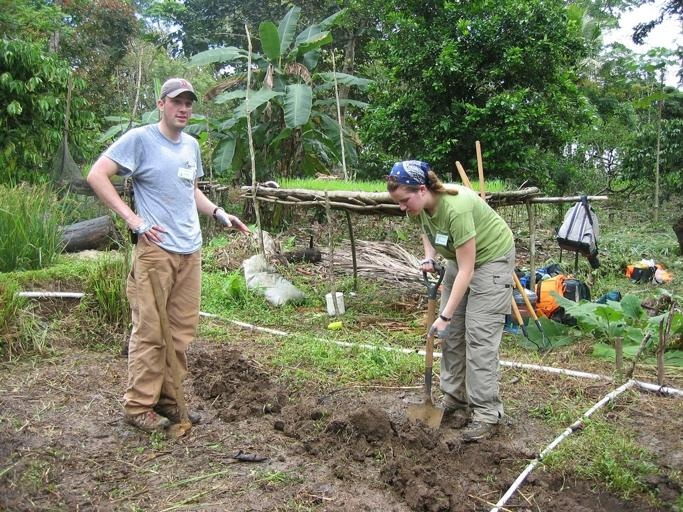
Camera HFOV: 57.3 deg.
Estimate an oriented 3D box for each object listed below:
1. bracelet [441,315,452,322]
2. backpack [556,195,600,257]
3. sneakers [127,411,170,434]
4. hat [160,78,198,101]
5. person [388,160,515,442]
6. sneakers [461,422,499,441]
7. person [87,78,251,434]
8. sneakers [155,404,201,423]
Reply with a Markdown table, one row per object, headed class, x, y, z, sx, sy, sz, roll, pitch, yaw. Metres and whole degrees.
| class | x | y | z | sx | sy | sz | roll | pitch | yaw |
| --- | --- | --- | --- | --- | --- | --- | --- | --- | --- |
| bracelet | 0.846 | 0.509 | 5.154 | 0.079 | 0.065 | 0.061 | 4 | 7 | 4 |
| backpack | 2.987 | -0.376 | 7.919 | 0.556 | 0.743 | 0.416 | -3 | 10 | -42 |
| sneakers | -1.635 | 1.414 | 5.350 | 0.355 | 0.159 | 0.165 | 3 | 7 | 3 |
| hat | -1.400 | -1.423 | 5.322 | 0.299 | 0.215 | 0.377 | 1 | 7 | -18 |
| person | 0.967 | 0.360 | 5.340 | 1.043 | 2.270 | 0.623 | 4 | 7 | 6 |
| sneakers | 1.148 | 1.454 | 5.276 | 0.338 | 0.166 | 0.131 | -1 | 5 | -12 |
| person | -1.625 | 0.007 | 5.330 | 0.848 | 3.006 | 0.536 | 1 | 8 | -18 |
| sneakers | -1.444 | 1.373 | 5.550 | 0.435 | 0.182 | 0.155 | 2 | -1 | -3 |
